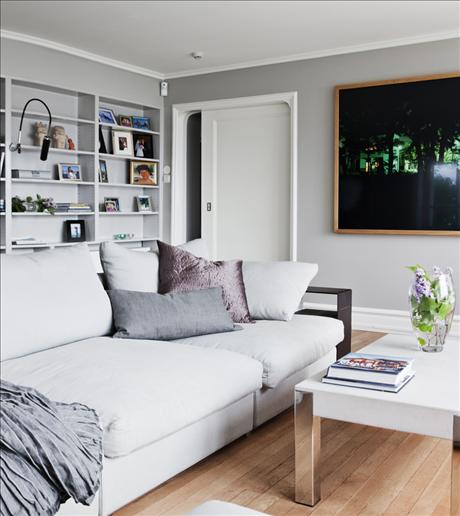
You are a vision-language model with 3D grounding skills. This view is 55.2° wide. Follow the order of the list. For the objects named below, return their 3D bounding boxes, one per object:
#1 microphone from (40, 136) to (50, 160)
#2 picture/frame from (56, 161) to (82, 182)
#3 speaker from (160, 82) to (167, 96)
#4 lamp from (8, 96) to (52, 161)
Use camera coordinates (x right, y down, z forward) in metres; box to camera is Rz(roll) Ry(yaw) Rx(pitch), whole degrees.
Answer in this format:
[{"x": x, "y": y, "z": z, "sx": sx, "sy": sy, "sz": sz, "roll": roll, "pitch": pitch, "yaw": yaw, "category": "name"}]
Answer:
[{"x": -1.689, "y": -1.008, "z": 4.014, "sx": 0.061, "sy": 0.227, "sz": 0.305, "roll": 1, "pitch": -1, "yaw": -22, "category": "microphone"}, {"x": -1.686, "y": -0.897, "z": 4.569, "sx": 0.036, "sy": 0.196, "sz": 0.287, "roll": -6, "pitch": -3, "yaw": 37, "category": "picture/frame"}, {"x": -0.792, "y": -2.045, "z": 5.278, "sx": 0.091, "sy": 0.186, "sz": 0.129, "roll": 1, "pitch": -1, "yaw": -9, "category": "speaker"}, {"x": -1.829, "y": -1.254, "z": 4.062, "sx": 0.348, "sy": 0.720, "sz": 0.838, "roll": 1, "pitch": -1, "yaw": -22, "category": "lamp"}]
